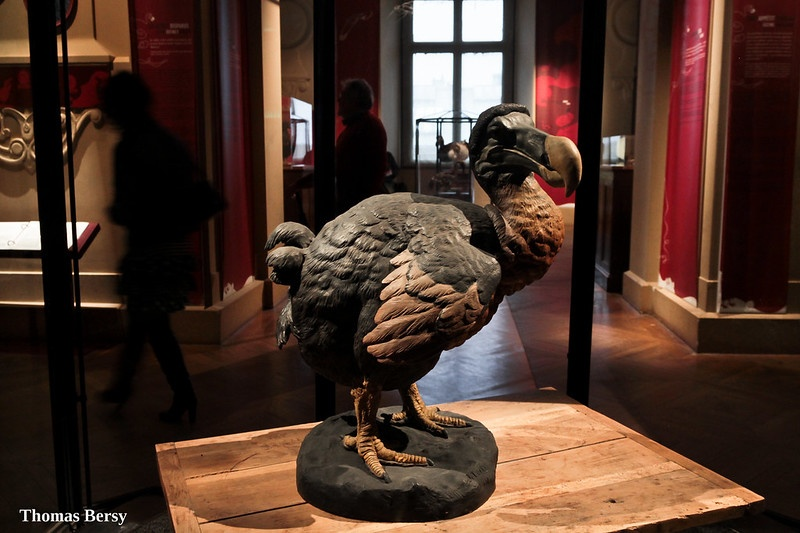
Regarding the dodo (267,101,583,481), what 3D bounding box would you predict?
[{"bbox_3d":[0.080,0.074,2.618,1.264,1.262,0.751,-3,7,10],"label":"dodo"}]
